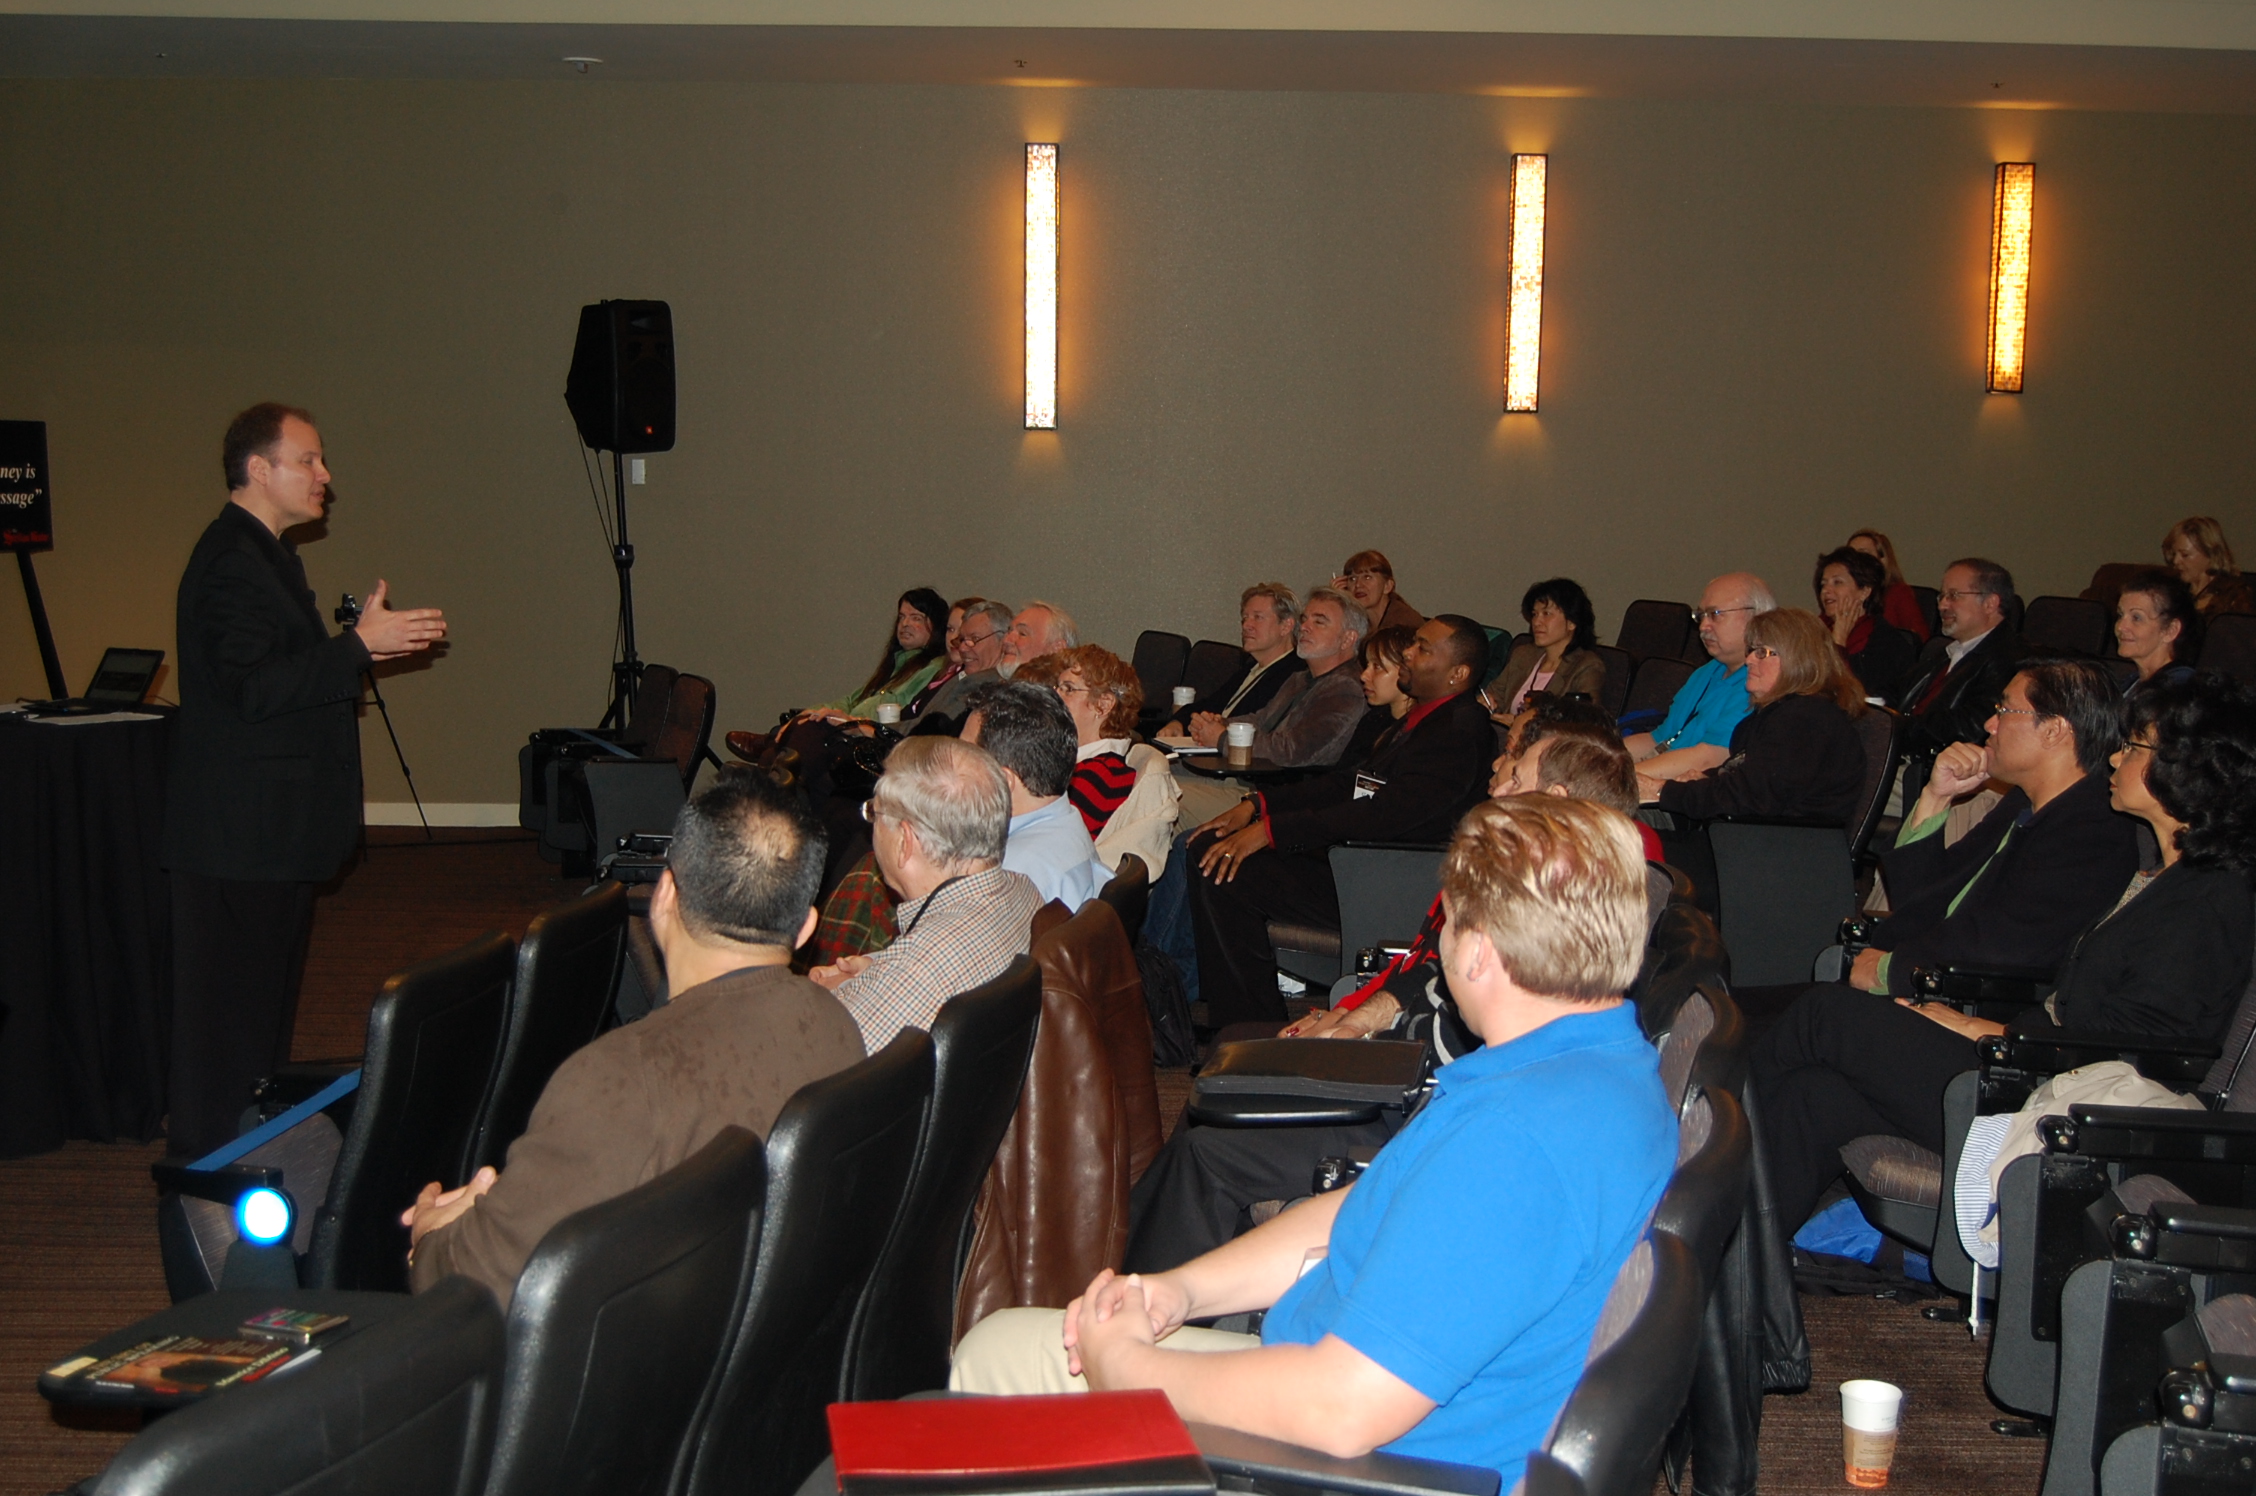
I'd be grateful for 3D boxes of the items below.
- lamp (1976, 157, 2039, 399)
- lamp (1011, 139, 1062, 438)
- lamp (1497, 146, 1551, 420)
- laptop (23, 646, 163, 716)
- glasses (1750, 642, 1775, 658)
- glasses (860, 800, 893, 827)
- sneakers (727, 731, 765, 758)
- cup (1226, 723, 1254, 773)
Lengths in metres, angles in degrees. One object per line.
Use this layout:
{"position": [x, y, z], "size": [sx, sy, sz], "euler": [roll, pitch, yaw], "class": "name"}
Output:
{"position": [4.888, -2.563, 9.090], "size": [0.256, 1.257, 0.091], "euler": [-3, 7, -13], "class": "lamp"}
{"position": [-0.472, -2.451, 8.811], "size": [0.252, 1.497, 0.078], "euler": [-2, 7, -5], "class": "lamp"}
{"position": [2.164, -2.497, 8.936], "size": [0.248, 1.377, 0.073], "euler": [-3, 7, -17], "class": "lamp"}
{"position": [-3.233, -0.208, 5.155], "size": [0.377, 0.180, 0.318], "euler": [-3, -5, 32], "class": "laptop"}
{"position": [2.175, -0.334, 5.669], "size": [0.047, 0.024, 0.046], "euler": [-1, -16, -16], "class": "glasses"}
{"position": [-0.586, 0.145, 3.798], "size": [0.099, 0.030, 0.096], "euler": [7, 1, -1], "class": "glasses"}
{"position": [-1.841, -0.026, 7.887], "size": [0.085, 0.167, 0.191], "euler": [3, -1, 14], "class": "sneakers"}
{"position": [0.411, -0.010, 6.167], "size": [0.146, 0.234, 0.150], "euler": [1, 0, 0], "class": "cup"}
